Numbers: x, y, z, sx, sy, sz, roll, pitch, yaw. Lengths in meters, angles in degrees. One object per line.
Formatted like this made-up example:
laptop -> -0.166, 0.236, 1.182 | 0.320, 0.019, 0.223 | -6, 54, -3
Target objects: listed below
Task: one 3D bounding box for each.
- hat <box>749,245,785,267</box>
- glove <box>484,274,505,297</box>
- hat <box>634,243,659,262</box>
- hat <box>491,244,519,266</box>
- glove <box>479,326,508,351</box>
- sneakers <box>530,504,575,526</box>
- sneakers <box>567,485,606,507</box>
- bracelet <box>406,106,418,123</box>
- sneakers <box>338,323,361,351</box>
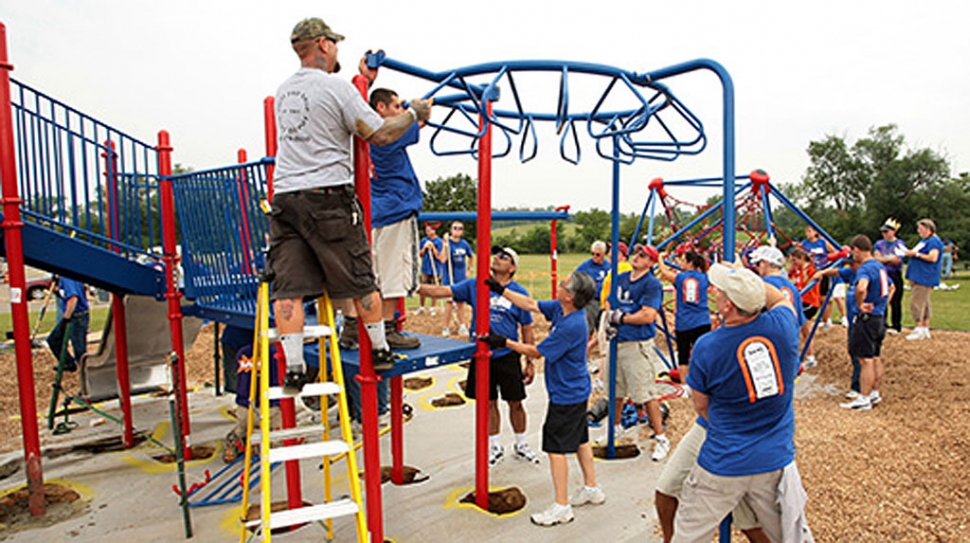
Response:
hat -> 4.005, -0.230, 10.988 | 0.355, 0.222, 0.420 | -2, 5, -34
glove -> 0.124, 0.192, 10.715 | 0.087, 0.268, 0.204 | -46, -13, 35
hat -> 2.634, -0.319, 12.422 | 0.420, 0.215, 0.260 | 32, -4, -34
hat -> 0.330, -0.244, 11.703 | 0.335, 0.333, 0.805 | -3, 3, -1
glove -> 0.110, 0.946, 10.900 | 0.369, 0.192, 0.106 | 16, -11, 39
sneakers -> 0.911, 3.350, 10.640 | 0.634, 0.260, 0.241 | 0, -6, -7
sneakers -> 1.404, 3.138, 10.819 | 0.605, 0.249, 0.204 | 1, -3, -4
bracelet -> -0.877, -1.949, 9.556 | 0.158, 0.109, 0.156 | 8, -8, 37
sneakers -> -1.800, 0.871, 10.301 | 0.202, 0.232, 0.527 | 1, -7, -1
